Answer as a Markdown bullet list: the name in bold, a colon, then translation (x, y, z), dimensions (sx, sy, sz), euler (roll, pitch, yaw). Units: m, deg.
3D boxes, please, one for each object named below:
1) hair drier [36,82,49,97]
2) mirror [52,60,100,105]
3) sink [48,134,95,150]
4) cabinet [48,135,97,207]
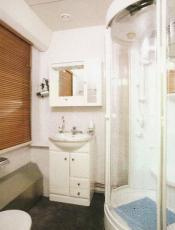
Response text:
- **hair drier**: translation (-0.624, -0.349, 2.624), dimensions (0.186, 0.193, 0.084), euler (-1, 3, -24)
- **mirror**: translation (-0.164, -0.389, 2.541), dimensions (0.660, 0.599, 0.248), euler (-1, -6, 11)
- **sink**: translation (-0.200, 0.320, 2.273), dimensions (0.499, 0.151, 0.362), euler (1, 7, 5)
- **cabinet**: translation (-0.176, 0.639, 2.395), dimensions (0.529, 0.783, 0.442), euler (1, 1, 6)
